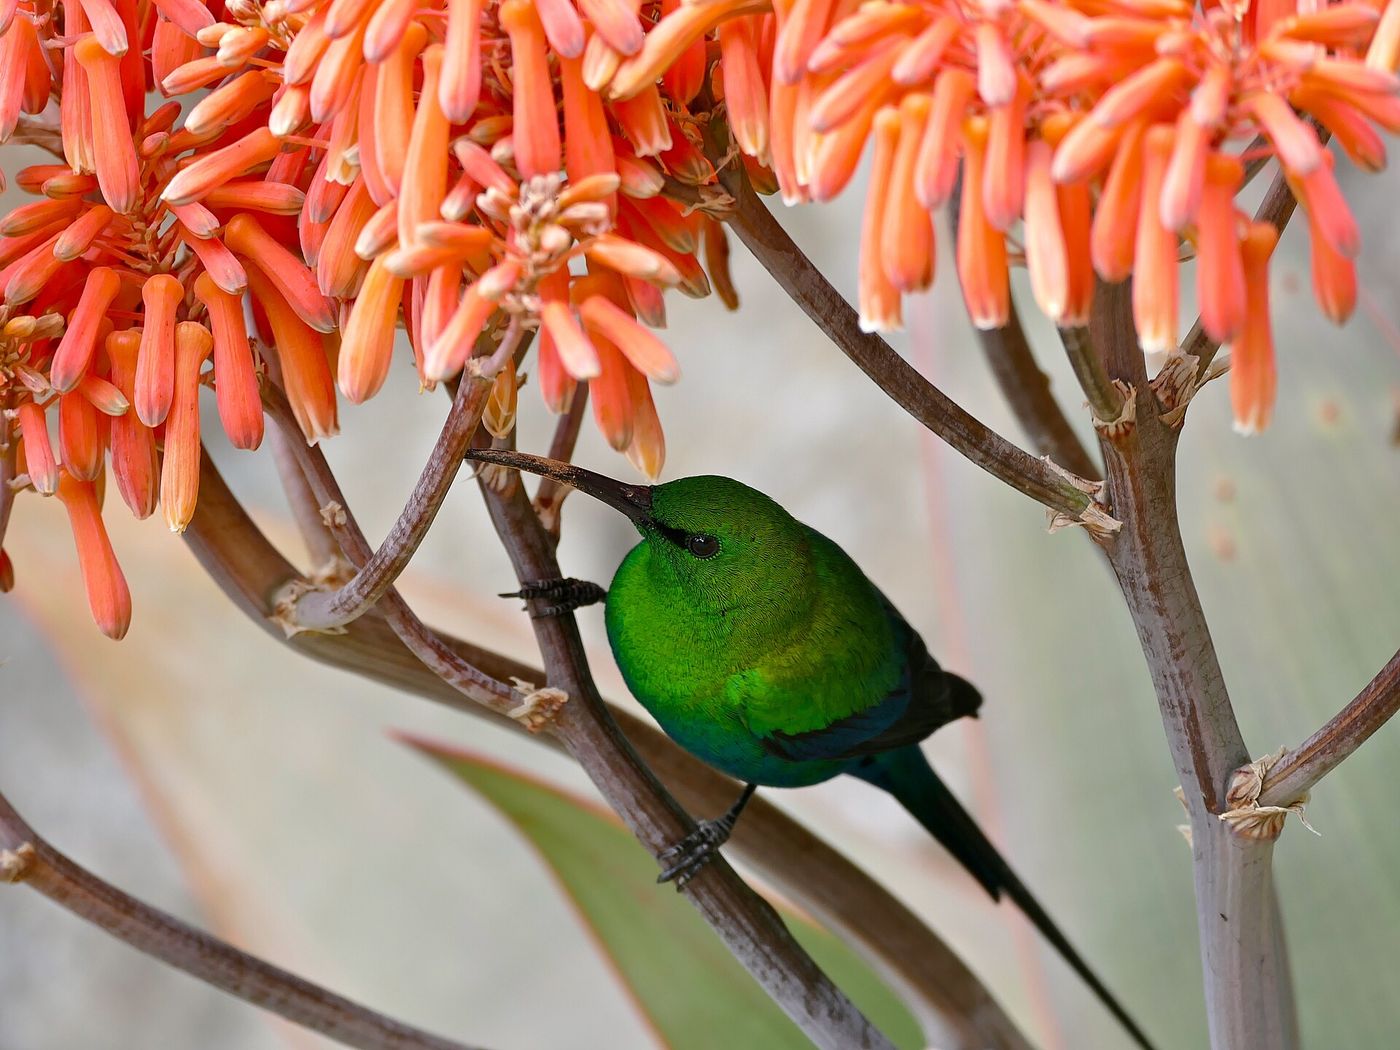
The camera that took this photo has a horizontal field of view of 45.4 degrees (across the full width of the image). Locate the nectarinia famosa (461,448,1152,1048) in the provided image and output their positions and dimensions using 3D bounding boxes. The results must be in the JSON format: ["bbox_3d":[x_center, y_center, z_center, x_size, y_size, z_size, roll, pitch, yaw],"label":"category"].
[{"bbox_3d":[0.139,0.105,1.213,0.300,0.613,0.230,-52,30,29],"label":"nectarinia famosa"}]
